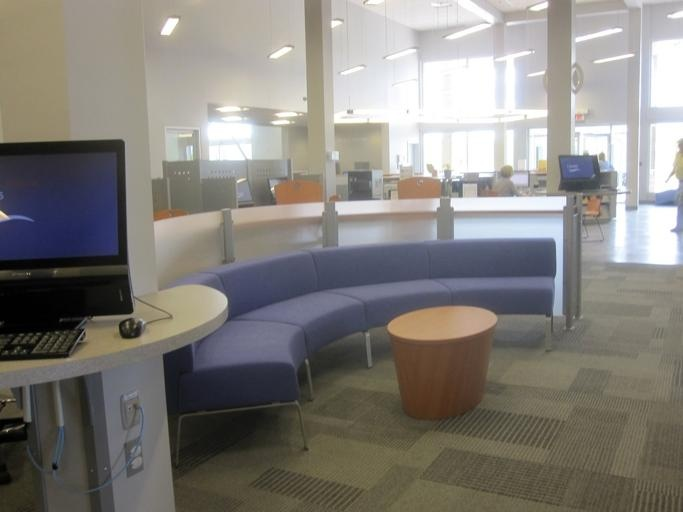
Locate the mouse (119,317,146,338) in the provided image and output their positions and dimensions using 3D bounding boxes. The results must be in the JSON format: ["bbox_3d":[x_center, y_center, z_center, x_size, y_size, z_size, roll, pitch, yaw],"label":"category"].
[{"bbox_3d":[-0.702,0.235,1.755,0.051,0.028,0.074,-2,18,-4],"label":"mouse"}]

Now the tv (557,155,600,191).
[{"bbox_3d":[3.878,-1.361,8.527,0.963,0.567,0.379,-10,13,-36],"label":"tv"}]

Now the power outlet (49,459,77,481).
[{"bbox_3d":[-1.086,0.852,2.085,0.094,0.028,0.072,7,5,28],"label":"power outlet"}]

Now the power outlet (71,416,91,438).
[{"bbox_3d":[-1.012,0.663,2.056,0.076,0.084,0.043,4,-2,24],"label":"power outlet"}]

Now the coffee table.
[{"bbox_3d":[0.671,0.638,3.418,0.649,0.505,0.548,-11,9,-41],"label":"coffee table"}]
